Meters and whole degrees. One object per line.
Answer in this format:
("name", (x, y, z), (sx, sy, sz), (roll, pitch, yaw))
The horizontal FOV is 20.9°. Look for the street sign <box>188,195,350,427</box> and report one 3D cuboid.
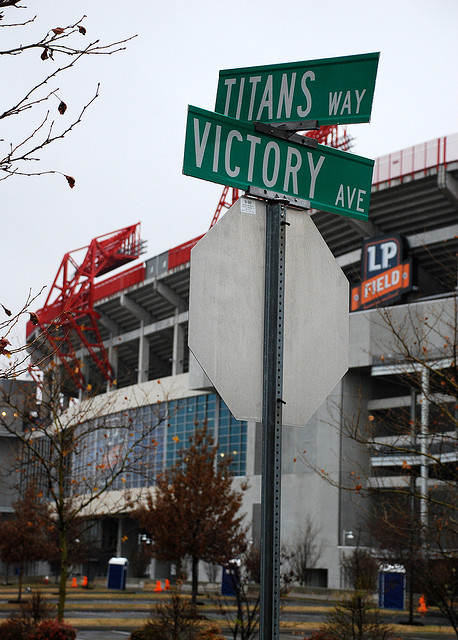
("street sign", (0.388, -0.073, 11.541), (1.586, 0.048, 2.366), (10, -59, 13))
